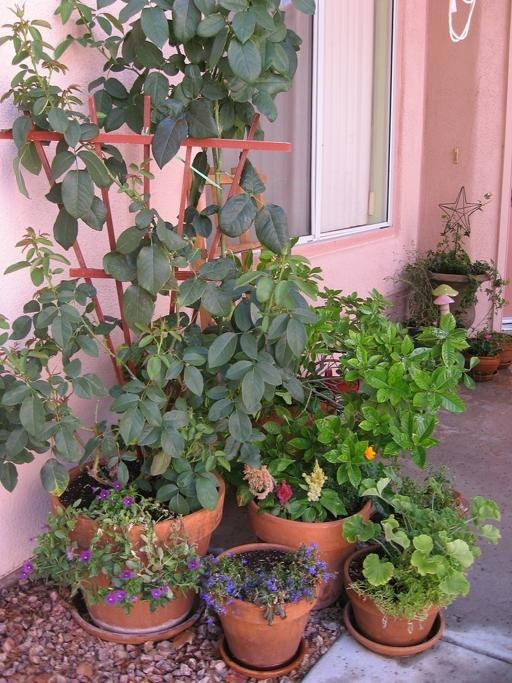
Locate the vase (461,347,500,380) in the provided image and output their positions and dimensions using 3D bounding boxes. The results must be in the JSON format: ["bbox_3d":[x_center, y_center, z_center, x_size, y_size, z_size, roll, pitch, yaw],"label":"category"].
[{"bbox_3d":[1.367,0.127,3.368,0.278,0.200,0.259,0,0,2],"label":"vase"}]

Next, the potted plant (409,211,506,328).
[{"bbox_3d":[1.543,-0.536,4.477,0.924,0.930,0.712,-1,8,-16],"label":"potted plant"}]

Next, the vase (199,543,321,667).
[{"bbox_3d":[0.011,0.643,1.366,0.314,0.241,0.297,0,-1,-2],"label":"vase"}]

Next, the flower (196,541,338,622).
[{"bbox_3d":[0.017,0.547,1.319,0.265,0.100,0.263,10,11,35],"label":"flower"}]

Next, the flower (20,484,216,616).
[{"bbox_3d":[-0.319,0.495,1.377,0.454,0.250,0.292,3,10,-2],"label":"flower"}]
